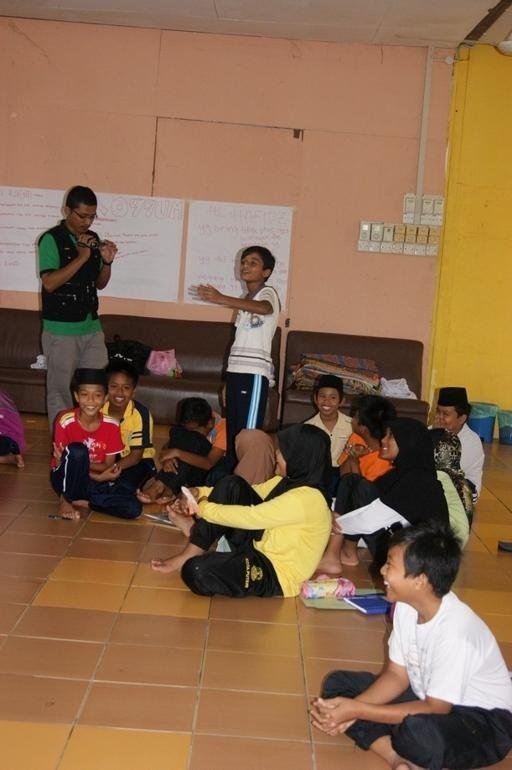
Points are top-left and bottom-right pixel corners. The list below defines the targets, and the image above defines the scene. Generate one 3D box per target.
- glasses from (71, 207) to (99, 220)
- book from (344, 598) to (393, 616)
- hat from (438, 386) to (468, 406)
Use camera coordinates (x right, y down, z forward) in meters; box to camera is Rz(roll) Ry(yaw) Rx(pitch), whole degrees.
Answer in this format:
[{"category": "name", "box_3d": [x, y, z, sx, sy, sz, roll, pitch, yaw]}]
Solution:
[{"category": "glasses", "box_3d": [-0.925, -0.942, 3.323, 0.084, 0.073, 0.162, 8, 6, 23]}, {"category": "book", "box_3d": [0.400, 0.776, 2.122, 0.081, 0.018, 0.078, 0, 1, -12]}, {"category": "hat", "box_3d": [1.022, 0.060, 3.153, 0.118, 0.061, 0.115, -3, 0, 16]}]
